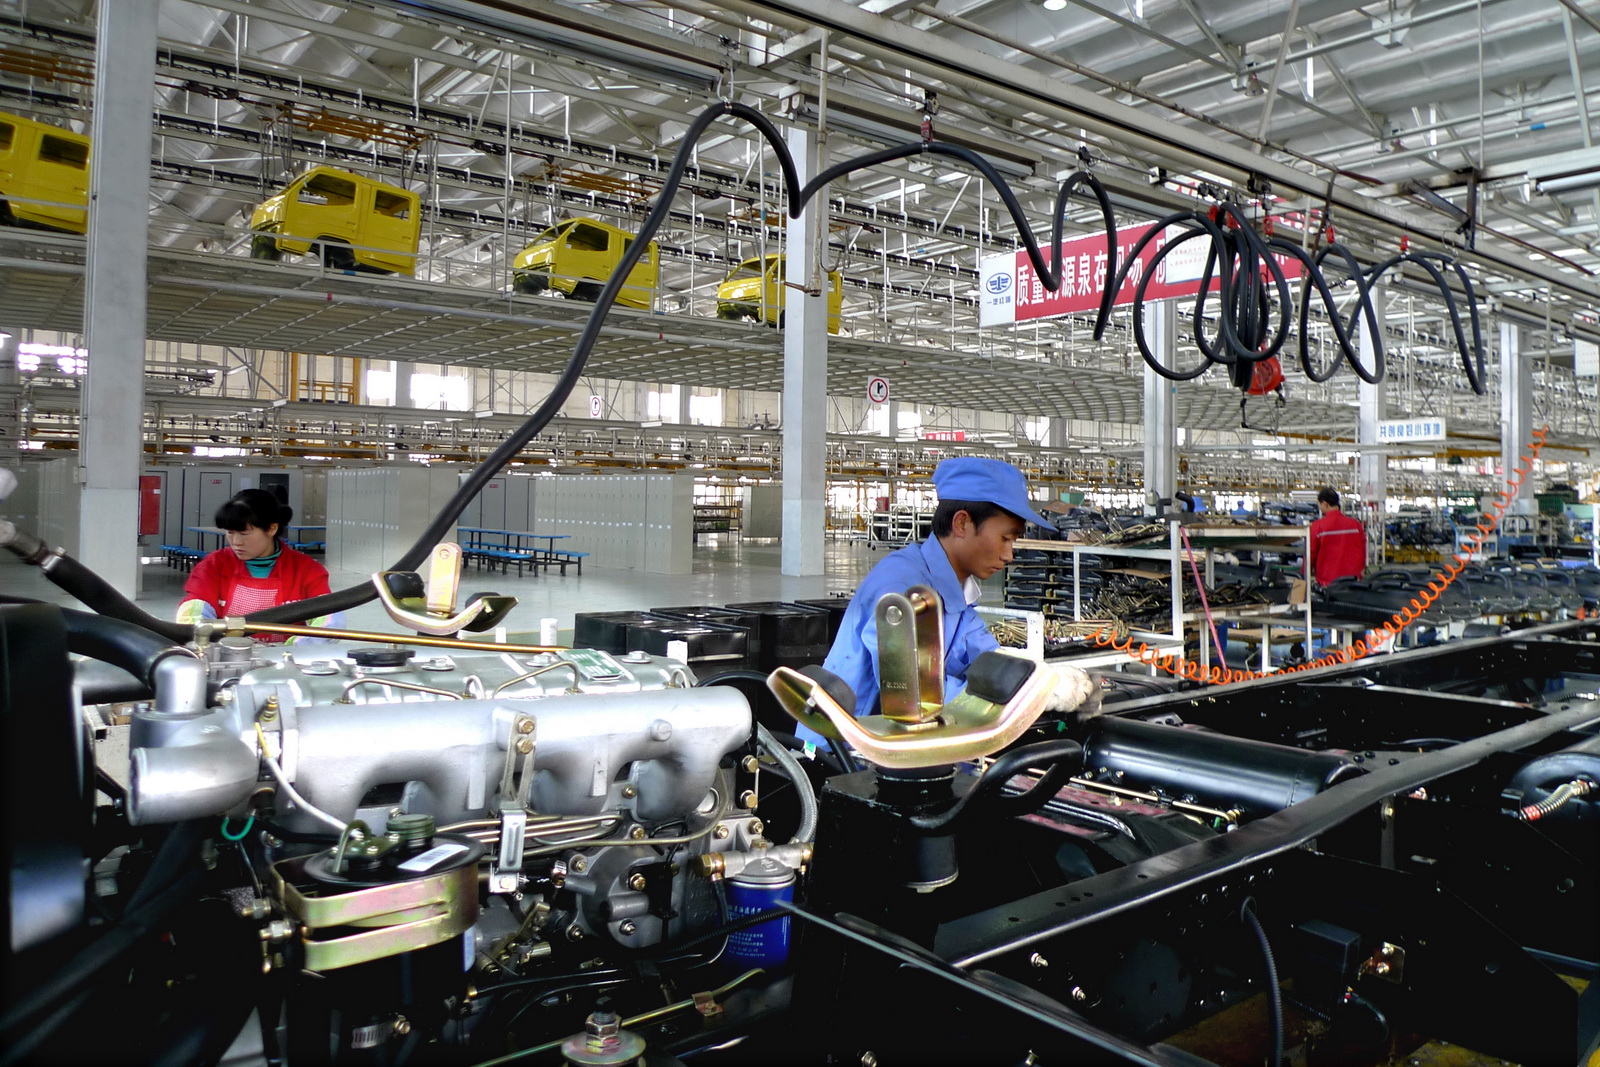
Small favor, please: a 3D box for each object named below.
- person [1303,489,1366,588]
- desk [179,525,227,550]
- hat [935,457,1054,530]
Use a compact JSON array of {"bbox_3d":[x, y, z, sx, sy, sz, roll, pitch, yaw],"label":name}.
[{"bbox_3d":[4.377,0.002,9.481,0.376,0.741,1.176,0,2,23],"label":"person"},{"bbox_3d":[-9.029,0.056,17.690,0.565,0.487,0.543,3,-4,-38],"label":"desk"},{"bbox_3d":[0.549,-0.109,3.309,0.291,0.120,0.200,5,1,7],"label":"hat"}]
